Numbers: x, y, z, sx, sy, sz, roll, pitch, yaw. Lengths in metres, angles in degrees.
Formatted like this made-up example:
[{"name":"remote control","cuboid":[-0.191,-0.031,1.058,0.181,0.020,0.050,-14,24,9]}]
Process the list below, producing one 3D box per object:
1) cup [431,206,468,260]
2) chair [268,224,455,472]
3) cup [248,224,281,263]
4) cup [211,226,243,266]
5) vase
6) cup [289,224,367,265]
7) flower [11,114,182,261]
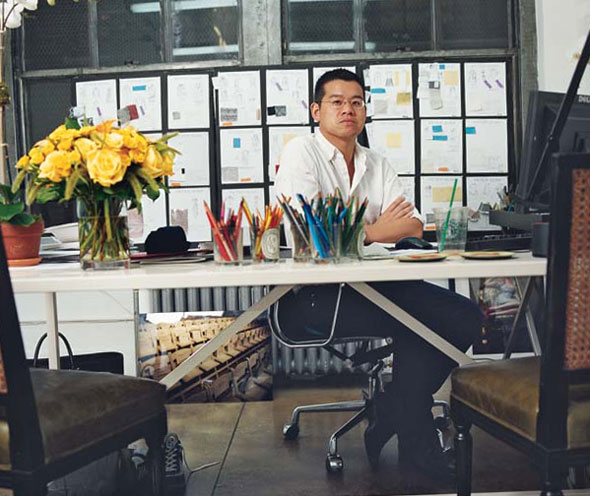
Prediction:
[{"name":"cup","cuboid":[0.555,-0.065,2.951,0.118,0.172,0.132,-1,3,-4]},{"name":"chair","cuboid":[0.310,0.428,3.363,0.615,1.152,0.658,-1,1,12]},{"name":"cup","cuboid":[-0.096,-0.018,2.675,0.084,0.118,0.091,1,2,0]},{"name":"cup","cuboid":[-0.212,-0.012,2.650,0.088,0.130,0.101,0,2,-8]},{"name":"vase","cuboid":[-0.638,-0.049,2.737,0.179,0.372,0.196,-1,-5,-5]},{"name":"cup","cuboid":[0.104,0.001,2.717,0.145,0.117,0.150,-1,3,0]},{"name":"flower","cuboid":[-0.648,-0.122,2.708,0.435,0.544,0.466,1,-4,-24]}]
